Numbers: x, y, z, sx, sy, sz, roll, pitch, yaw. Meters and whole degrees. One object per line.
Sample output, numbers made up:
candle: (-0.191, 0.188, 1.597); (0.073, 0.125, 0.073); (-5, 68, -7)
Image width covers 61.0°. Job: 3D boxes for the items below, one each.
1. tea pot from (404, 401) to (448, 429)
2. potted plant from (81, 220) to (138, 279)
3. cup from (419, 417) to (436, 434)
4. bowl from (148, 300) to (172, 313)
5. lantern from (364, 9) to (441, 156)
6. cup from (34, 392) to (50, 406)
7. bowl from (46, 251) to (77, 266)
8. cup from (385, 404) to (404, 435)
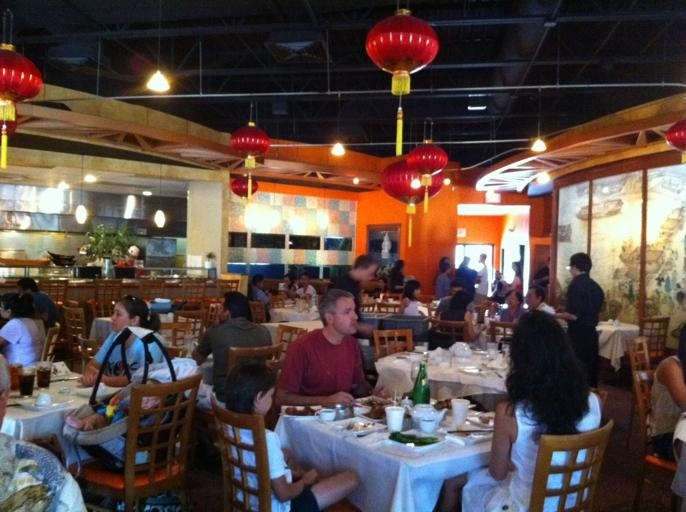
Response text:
tea pot: (0.531, 0.983, 3.627); (0.194, 0.111, 0.158); (2, -6, 2)
potted plant: (-4.577, -0.108, 11.279); (1.201, 1.328, 0.953); (0, 2, 2)
cup: (0.514, 1.032, 3.559); (0.091, 0.071, 0.089); (-1, -4, 0)
bowl: (-2.293, 0.625, 7.223); (0.272, 0.193, 0.254); (3, -2, 0)
lantern: (0.459, -1.593, 4.522); (0.554, 0.896, 0.252); (3, -1, 2)
cup: (-2.025, 0.965, 3.932); (0.098, 0.071, 0.101); (1, 3, 0)
bowl: (-5.638, 0.080, 11.555); (0.511, 0.208, 0.480); (5, -6, 1)
cup: (0.318, 0.996, 3.564); (0.136, 0.151, 0.131); (1, 0, 0)
